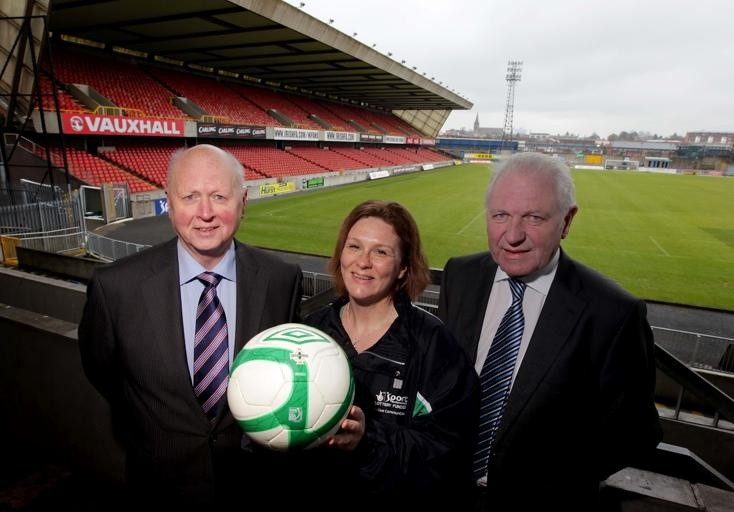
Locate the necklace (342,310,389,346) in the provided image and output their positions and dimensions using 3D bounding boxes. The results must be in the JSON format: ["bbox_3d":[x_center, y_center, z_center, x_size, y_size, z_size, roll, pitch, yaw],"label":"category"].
[{"bbox_3d":[-0.011,0.541,3.866,0.277,0.359,0.154,0,-6,16],"label":"necklace"}]
